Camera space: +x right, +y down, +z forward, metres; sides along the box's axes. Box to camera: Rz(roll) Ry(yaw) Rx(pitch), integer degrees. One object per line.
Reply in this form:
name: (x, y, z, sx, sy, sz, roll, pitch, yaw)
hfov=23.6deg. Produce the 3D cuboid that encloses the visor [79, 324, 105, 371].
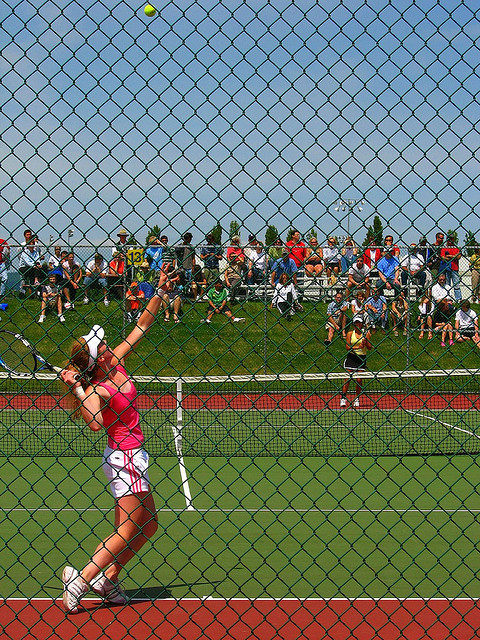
visor: (-0.902, 0.180, 7.116, 0.119, 0.292, 0.317, -6, 18, -8)

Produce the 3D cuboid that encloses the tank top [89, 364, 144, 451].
tank top: (-0.815, 0.548, 7.558, 0.297, 0.671, 0.516, -6, 18, -6)
